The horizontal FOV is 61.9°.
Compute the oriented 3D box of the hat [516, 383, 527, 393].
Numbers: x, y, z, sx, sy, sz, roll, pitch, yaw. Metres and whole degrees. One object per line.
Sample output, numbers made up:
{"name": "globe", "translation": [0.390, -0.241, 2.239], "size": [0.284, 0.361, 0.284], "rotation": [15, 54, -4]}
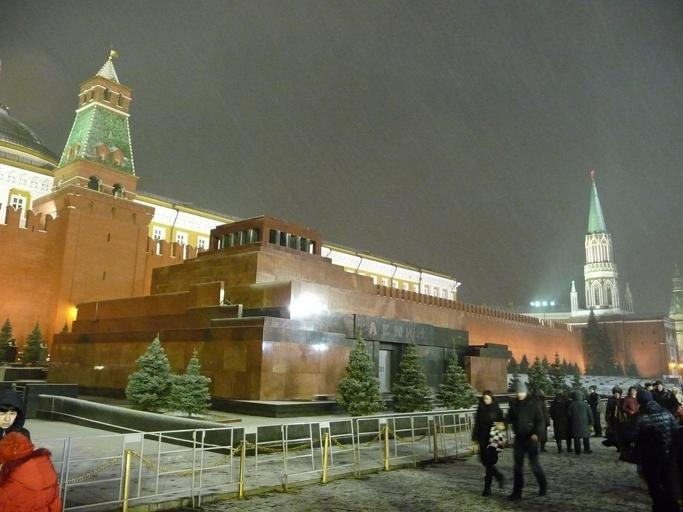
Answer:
{"name": "hat", "translation": [2.792, 2.038, 8.806], "size": [0.153, 0.145, 0.149], "rotation": [6, -7, -27]}

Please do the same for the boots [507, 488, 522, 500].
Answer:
{"name": "boots", "translation": [2.619, 3.540, 8.514], "size": [0.300, 0.184, 0.154], "rotation": [9, -18, -27]}

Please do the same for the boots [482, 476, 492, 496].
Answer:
{"name": "boots", "translation": [2.248, 3.537, 8.807], "size": [0.151, 0.280, 0.431], "rotation": [-3, -16, 13]}

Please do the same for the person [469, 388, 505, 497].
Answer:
{"name": "person", "translation": [2.321, 2.936, 9.009], "size": [0.492, 1.541, 0.811], "rotation": [-3, -16, 12]}
